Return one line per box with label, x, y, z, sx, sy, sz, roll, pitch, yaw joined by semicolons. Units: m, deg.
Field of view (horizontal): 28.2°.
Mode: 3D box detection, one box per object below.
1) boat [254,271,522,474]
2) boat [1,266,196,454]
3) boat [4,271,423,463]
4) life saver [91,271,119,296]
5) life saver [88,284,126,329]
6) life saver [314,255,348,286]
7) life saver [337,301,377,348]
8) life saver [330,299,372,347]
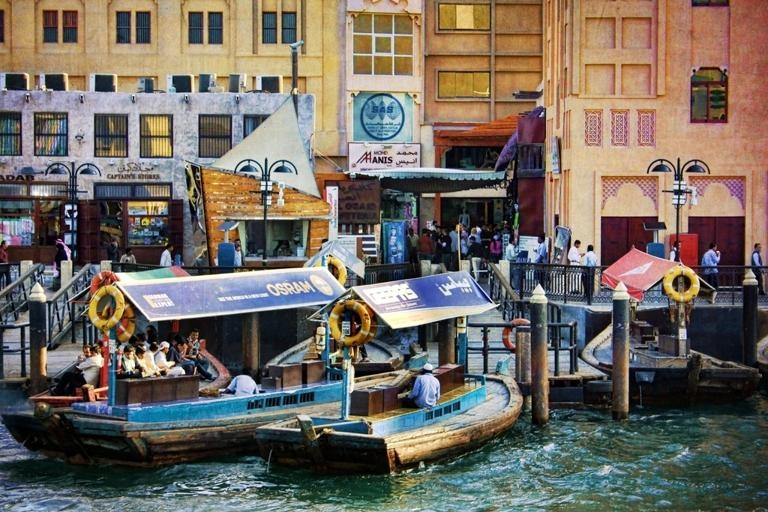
boat;1.212;3.983;53.356;5.401;5.025;9.166;3;5;38
boat;-8.742;3.955;51.867;6.069;6.144;2.465;-2;3;-10
boat;-5.548;3.960;53.463;10.966;4.363;6.542;-1;1;-42
life saver;-9.894;0.961;54.377;0.942;0.948;0.262;10;2;36
life saver;-9.307;1.765;51.653;0.389;1.435;1.322;9;-18;-43
life saver;-1.981;0.581;59.564;1.133;1.119;0.308;-4;-12;-40
life saver;-0.792;2.202;51.884;1.449;1.412;0.453;-19;-4;36
life saver;-1.079;2.279;51.898;1.538;1.534;0.467;-9;-3;24
